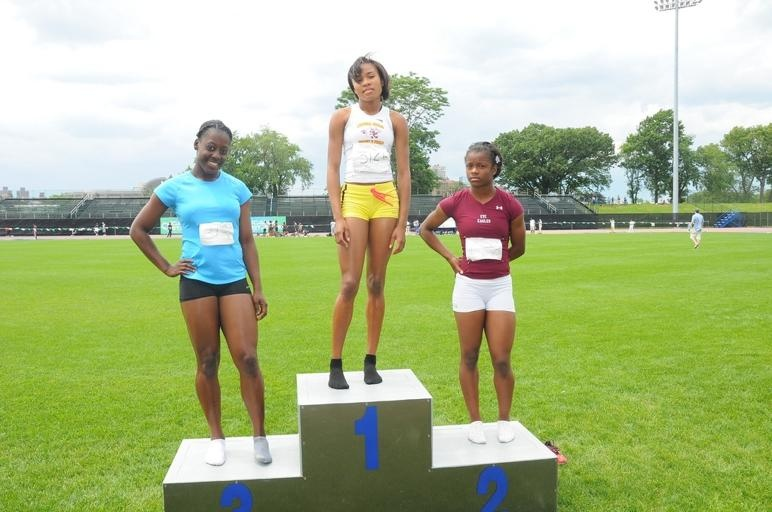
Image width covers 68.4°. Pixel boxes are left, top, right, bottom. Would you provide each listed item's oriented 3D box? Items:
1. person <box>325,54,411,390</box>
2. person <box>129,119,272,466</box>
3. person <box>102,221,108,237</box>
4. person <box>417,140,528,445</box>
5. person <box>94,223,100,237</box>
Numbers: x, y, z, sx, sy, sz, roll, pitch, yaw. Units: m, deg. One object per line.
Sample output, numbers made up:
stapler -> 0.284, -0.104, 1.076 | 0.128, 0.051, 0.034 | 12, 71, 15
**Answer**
person -> -0.161, -0.517, 5.816 | 0.842, 2.974, 0.671 | -2, 6, -3
person -> -1.656, 0.289, 5.315 | 1.056, 3.095, 1.031 | -3, 6, -19
person -> -27.794, -2.667, 56.278 | 0.375, 1.186, 1.436 | -4, 6, -26
person -> 0.934, 0.299, 5.729 | 0.879, 2.830, 0.865 | 0, 6, 13
person -> -28.347, -2.520, 55.865 | 0.561, 0.979, 1.609 | -4, 6, -26
